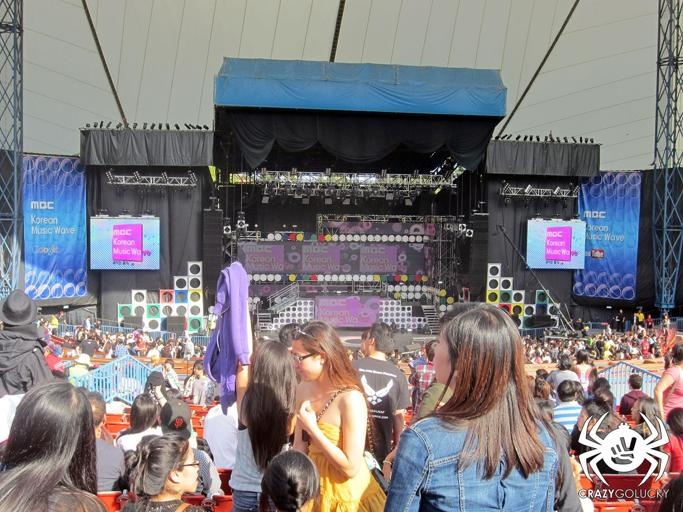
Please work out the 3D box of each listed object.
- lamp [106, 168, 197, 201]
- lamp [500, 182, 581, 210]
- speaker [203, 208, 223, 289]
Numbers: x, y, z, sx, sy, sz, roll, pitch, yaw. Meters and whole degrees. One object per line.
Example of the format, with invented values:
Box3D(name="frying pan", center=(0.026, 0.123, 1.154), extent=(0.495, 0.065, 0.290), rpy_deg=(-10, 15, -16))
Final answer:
Box3D(name="lamp", center=(-9.030, -3.398, 45.531), extent=(4.230, 1.209, 0.965), rpy_deg=(2, -4, -5))
Box3D(name="lamp", center=(9.274, -2.968, 46.696), extent=(2.805, 0.954, 0.630), rpy_deg=(5, -40, -2))
Box3D(name="speaker", center=(-5.944, -0.325, 45.139), extent=(0.953, 3.696, 0.874), rpy_deg=(-1, -4, 0))
